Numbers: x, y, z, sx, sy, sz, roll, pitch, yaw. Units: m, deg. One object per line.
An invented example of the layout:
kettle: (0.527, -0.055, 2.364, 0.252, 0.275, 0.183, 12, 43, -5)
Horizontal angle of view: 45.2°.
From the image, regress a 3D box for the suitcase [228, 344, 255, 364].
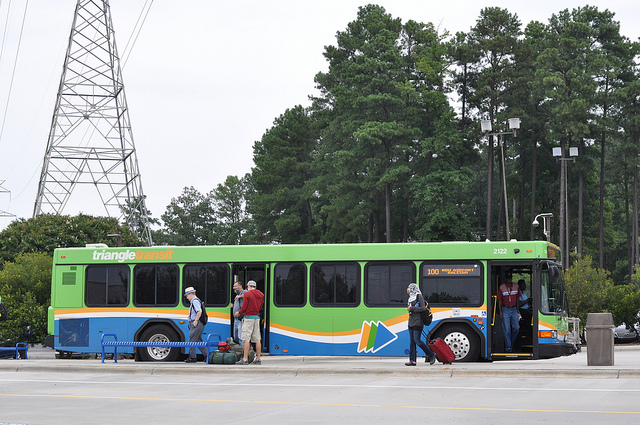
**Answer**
suitcase: (-2.659, 4.846, 26.673, 0.646, 0.747, 0.523, 3, -3, -8)

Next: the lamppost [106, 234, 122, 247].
lamppost: (-15.273, 2.029, 57.303, 0.751, 0.789, 0.786, 4, -9, 3)

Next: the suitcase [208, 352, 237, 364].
suitcase: (-3.372, 4.993, 26.481, 0.882, 0.369, 0.340, -2, -11, 18)

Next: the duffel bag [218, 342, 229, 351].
duffel bag: (-3.371, 4.680, 26.923, 0.294, 0.223, 0.341, -4, 5, -33)

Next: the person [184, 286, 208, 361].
person: (-4.396, 3.947, 27.099, 0.704, 2.666, 1.221, -2, 5, -12)

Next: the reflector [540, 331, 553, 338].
reflector: (7.575, 4.116, 25.988, 0.392, 0.210, 0.089, -2, 5, -3)

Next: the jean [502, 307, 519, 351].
jean: (6.450, 3.939, 26.246, 0.528, 1.428, 0.226, -2, 5, -11)

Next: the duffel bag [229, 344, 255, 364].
duffel bag: (-2.643, 4.872, 26.672, 0.630, 0.728, 0.516, 0, -1, -10)

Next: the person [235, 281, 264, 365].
person: (-2.379, 3.764, 26.182, 0.852, 2.841, 0.559, -2, 5, -9)

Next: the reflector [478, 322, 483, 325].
reflector: (5.426, 3.782, 26.249, 0.144, 0.067, 0.031, -1, 5, 1)
